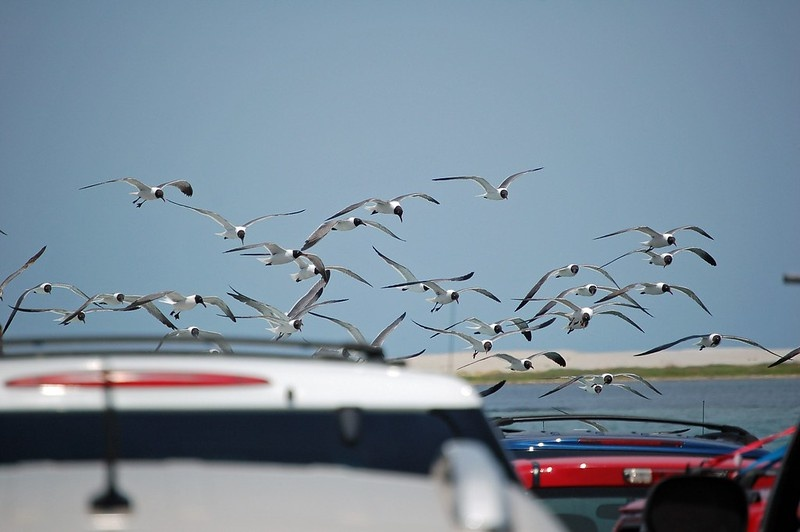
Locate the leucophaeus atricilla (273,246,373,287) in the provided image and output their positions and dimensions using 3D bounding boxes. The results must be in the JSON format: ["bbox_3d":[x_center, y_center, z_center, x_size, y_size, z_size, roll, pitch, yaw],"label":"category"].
[{"bbox_3d":[-1.310,0.036,18.417,0.721,0.198,1.320,-11,19,-22],"label":"leucophaeus atricilla"}]

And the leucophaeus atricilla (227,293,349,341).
[{"bbox_3d":[-1.379,0.564,15.202,1.512,0.396,0.871,0,5,-17],"label":"leucophaeus atricilla"}]
